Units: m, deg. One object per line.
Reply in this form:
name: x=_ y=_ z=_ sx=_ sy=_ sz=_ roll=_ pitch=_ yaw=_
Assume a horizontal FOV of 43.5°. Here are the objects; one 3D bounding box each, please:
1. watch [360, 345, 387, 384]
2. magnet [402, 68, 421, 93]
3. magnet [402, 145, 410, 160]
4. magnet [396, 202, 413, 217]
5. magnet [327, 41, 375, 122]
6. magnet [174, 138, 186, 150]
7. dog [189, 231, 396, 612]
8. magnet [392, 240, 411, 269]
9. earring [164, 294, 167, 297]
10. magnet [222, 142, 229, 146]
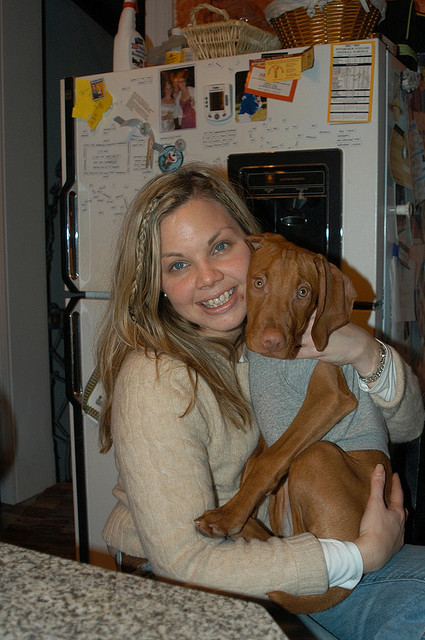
watch: x=0.354 y=0.099 z=1.182 sx=0.061 sy=0.074 sz=0.023 roll=-10 pitch=11 yaw=-34
magnet: x=0.726 y=-0.882 z=1.970 sx=0.066 sy=0.089 sz=0.033 roll=-3 pitch=13 yaw=-18
magnet: x=0.742 y=-0.643 z=2.053 sx=0.014 sy=0.058 sz=0.058 roll=12 pitch=-19 yaw=26
magnet: x=0.704 y=-0.400 z=1.942 sx=0.064 sy=0.054 sz=0.057 roll=8 pitch=11 yaw=32
magnet: x=0.460 y=-0.793 z=1.788 sx=0.151 sy=0.258 sz=0.029 roll=2 pitch=12 yaw=10
magnet: x=-0.127 y=-0.668 z=2.032 sx=0.042 sy=0.041 sz=0.015 roll=1 pitch=2 yaw=20
dog: x=0.194 y=0.191 z=1.065 sx=0.345 sy=0.701 sz=0.524 roll=7 pitch=14 yaw=20
magnet: x=0.716 y=-0.247 z=2.013 sx=0.029 sy=0.086 sz=0.126 roll=5 pitch=-2 yaw=31
earring: x=-0.115 y=-0.059 z=1.303 sx=0.007 sy=0.012 sz=0.007 roll=-1 pitch=9 yaw=-17
magnet: x=0.047 y=-0.645 z=1.956 sx=0.025 sy=0.011 sz=0.005 roll=5 pitch=13 yaw=11
